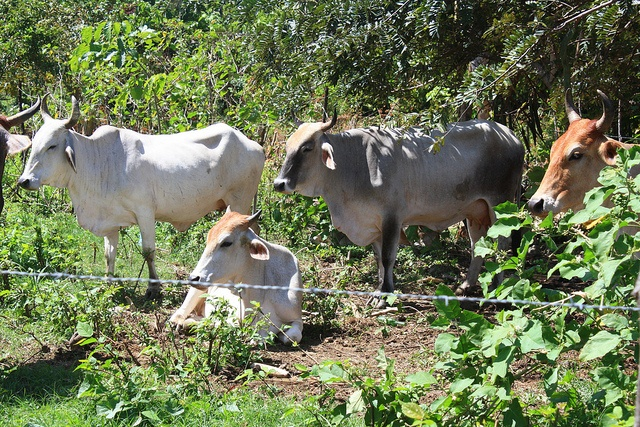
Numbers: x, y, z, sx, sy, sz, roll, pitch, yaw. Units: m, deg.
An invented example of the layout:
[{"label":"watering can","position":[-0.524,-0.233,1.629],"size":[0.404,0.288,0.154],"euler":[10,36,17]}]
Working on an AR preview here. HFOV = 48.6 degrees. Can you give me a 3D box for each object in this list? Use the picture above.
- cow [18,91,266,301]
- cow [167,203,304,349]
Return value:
[{"label":"cow","position":[-2.281,-0.277,9.506],"size":[3.287,2.423,1.068],"euler":[-5,10,-36]},{"label":"cow","position":[-0.846,0.670,7.909],"size":[1.432,1.470,0.810],"euler":[2,5,-12]}]
